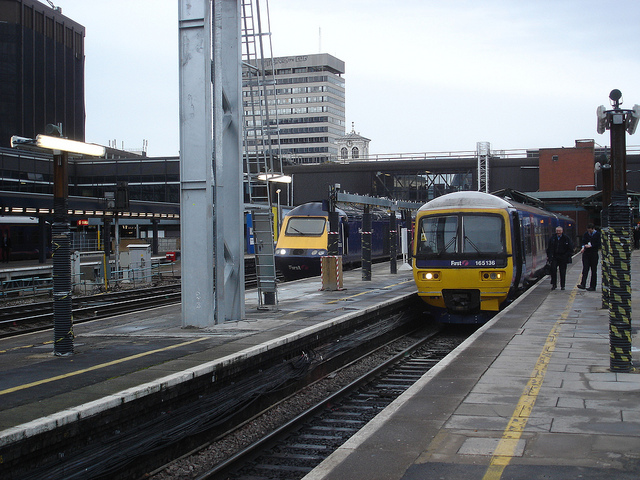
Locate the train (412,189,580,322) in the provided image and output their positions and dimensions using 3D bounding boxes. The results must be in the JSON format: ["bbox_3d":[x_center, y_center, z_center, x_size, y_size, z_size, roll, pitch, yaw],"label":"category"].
[{"bbox_3d":[7.338,0.091,23.258,2.622,3.678,15.874,-1,1,27],"label":"train"}]

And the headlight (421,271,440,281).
[{"bbox_3d":[2.894,0.945,16.534,0.284,0.296,0.095,14,10,26],"label":"headlight"}]

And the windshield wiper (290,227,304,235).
[{"bbox_3d":[-1.072,-0.435,29.465,0.635,0.069,0.067,33,8,26],"label":"windshield wiper"}]

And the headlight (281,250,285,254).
[{"bbox_3d":[-1.755,0.539,29.324,0.210,0.179,0.047,4,3,32],"label":"headlight"}]

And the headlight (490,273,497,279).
[{"bbox_3d":[4.441,0.914,16.123,0.155,0.161,0.036,-2,-2,7],"label":"headlight"}]
